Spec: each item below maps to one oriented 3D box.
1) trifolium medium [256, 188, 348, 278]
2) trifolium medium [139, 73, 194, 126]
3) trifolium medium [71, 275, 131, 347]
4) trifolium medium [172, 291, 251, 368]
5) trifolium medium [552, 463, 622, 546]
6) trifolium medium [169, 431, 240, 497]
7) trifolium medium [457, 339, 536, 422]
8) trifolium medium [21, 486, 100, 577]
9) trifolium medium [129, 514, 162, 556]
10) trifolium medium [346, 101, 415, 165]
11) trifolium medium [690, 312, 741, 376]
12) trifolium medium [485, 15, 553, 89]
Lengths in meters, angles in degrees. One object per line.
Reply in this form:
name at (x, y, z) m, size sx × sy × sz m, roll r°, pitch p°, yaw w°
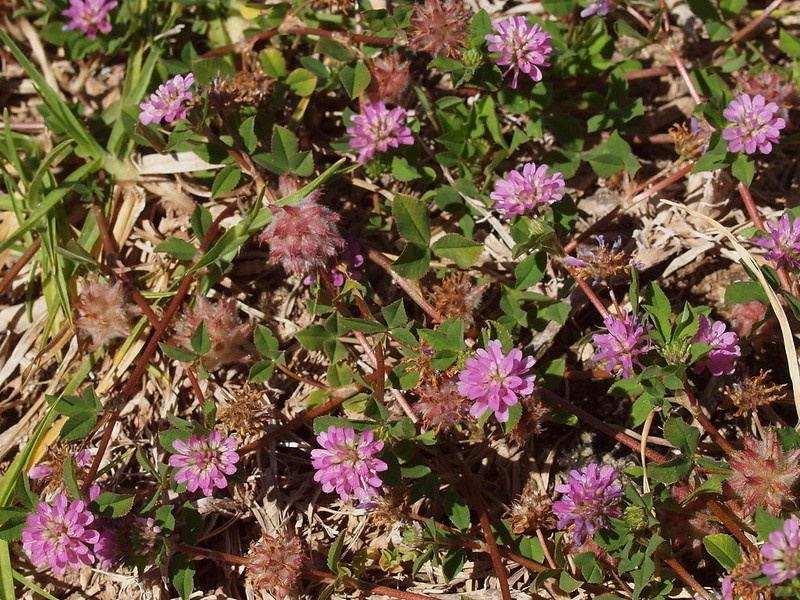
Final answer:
trifolium medium at (-0.454, -0.277, 3.503) m, size 0.365 × 0.345 × 0.308 m, roll -28°, pitch 68°, yaw -15°
trifolium medium at (-1.150, -0.963, 3.612) m, size 0.276 × 0.183 × 0.239 m, roll 4°, pitch 65°, yaw 0°
trifolium medium at (-1.474, 0.070, 3.744) m, size 0.248 × 0.289 × 0.285 m, roll 7°, pitch 64°, yaw 1°
trifolium medium at (-0.904, 0.150, 3.618) m, size 0.315 × 0.171 × 0.388 m, roll -1°, pitch 102°, yaw -28°
trifolium medium at (0.822, 0.799, 3.104) m, size 0.237 × 0.281 × 0.173 m, roll -2°, pitch 90°, yaw 13°
trifolium medium at (-0.852, 0.715, 3.239) m, size 0.292 × 0.119 × 0.250 m, roll -12°, pitch 66°, yaw -8°
trifolium medium at (0.409, 0.341, 3.133) m, size 0.327 × 0.185 × 0.273 m, roll -39°, pitch 72°, yaw -18°
trifolium medium at (-1.452, 1.003, 3.175) m, size 0.307 × 0.152 × 0.291 m, roll -15°, pitch 67°, yaw -9°
trifolium medium at (-1.126, 1.040, 3.298) m, size 0.122 × 0.157 × 0.168 m, roll -12°, pitch 65°, yaw -8°
trifolium medium at (-0.103, -0.820, 3.745) m, size 0.316 × 0.379 × 0.329 m, roll -8°, pitch 65°, yaw -6°
trifolium medium at (1.379, 0.205, 3.242) m, size 0.220 × 0.159 × 0.203 m, roll 19°, pitch 65°, yaw 6°
trifolium medium at (0.584, -1.268, 3.558) m, size 0.250 × 0.251 × 0.139 m, roll 3°, pitch 89°, yaw 27°
